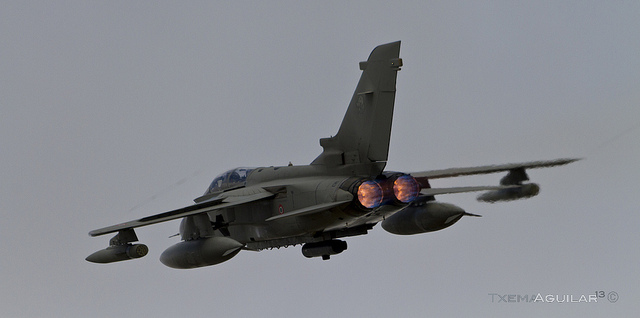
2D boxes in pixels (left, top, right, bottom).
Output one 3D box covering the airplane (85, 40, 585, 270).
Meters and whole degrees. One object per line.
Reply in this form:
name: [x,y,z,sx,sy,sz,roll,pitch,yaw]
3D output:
airplane: [0.207,1.140,39.871,12.458,4.577,6.001,-20,-46,14]
